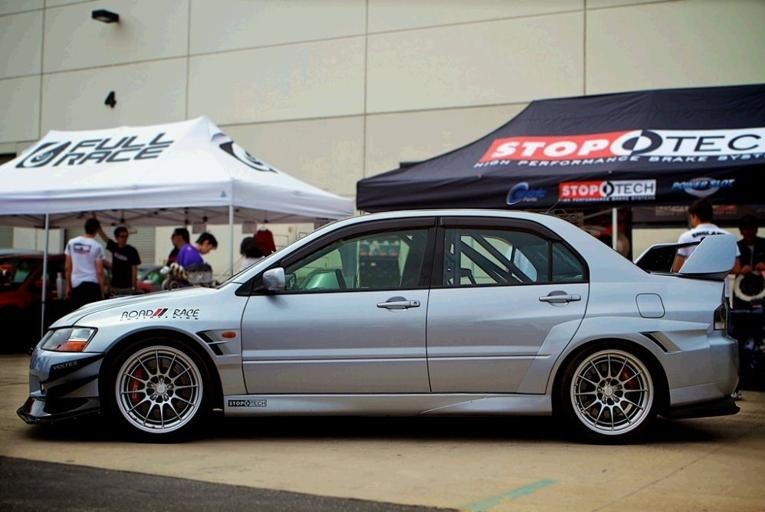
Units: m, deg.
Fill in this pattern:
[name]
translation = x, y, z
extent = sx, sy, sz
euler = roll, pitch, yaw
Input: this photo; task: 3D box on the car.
[car]
translation = 0.007, 0.908, 9.967
extent = 7.439, 1.987, 2.930
euler = 1, -5, 3
